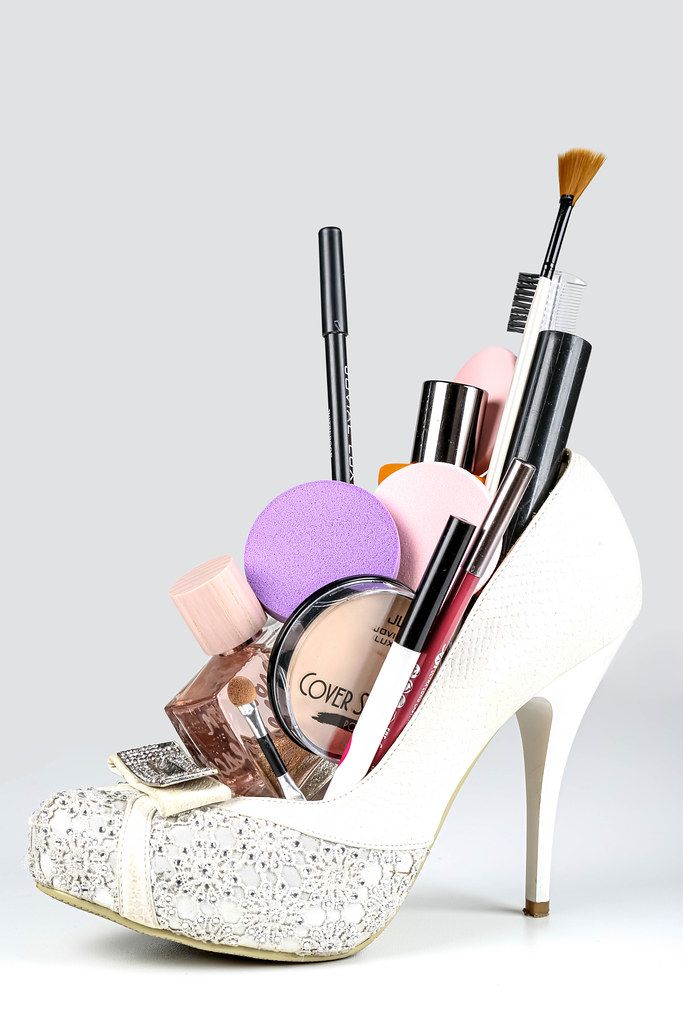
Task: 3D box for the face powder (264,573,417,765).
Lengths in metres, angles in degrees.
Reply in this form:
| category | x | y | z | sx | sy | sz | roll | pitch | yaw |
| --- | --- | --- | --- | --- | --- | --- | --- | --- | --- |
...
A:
| category | x | y | z | sx | sy | sz | roll | pitch | yaw |
| --- | --- | --- | --- | --- | --- | --- | --- | --- | --- |
| face powder | -0.003 | 0.091 | 0.601 | 0.107 | 0.106 | 0.024 | -40 | 29 | -11 |

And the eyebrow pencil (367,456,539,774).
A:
| category | x | y | z | sx | sy | sz | roll | pitch | yaw |
| --- | --- | --- | --- | --- | --- | --- | --- | --- | --- |
| eyebrow pencil | 0.068 | 0.062 | 0.611 | 0.019 | 0.233 | 0.025 | 28 | 5 | 34 |

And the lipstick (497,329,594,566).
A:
| category | x | y | z | sx | sy | sz | roll | pitch | yaw |
| --- | --- | --- | --- | --- | --- | --- | --- | --- | --- |
| lipstick | 0.137 | -0.039 | 0.675 | 0.052 | 0.165 | 0.042 | 24 | -8 | -15 |

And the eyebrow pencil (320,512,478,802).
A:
| category | x | y | z | sx | sy | sz | roll | pitch | yaw |
| --- | --- | --- | --- | --- | --- | --- | --- | --- | --- |
| eyebrow pencil | 0.034 | 0.095 | 0.596 | 0.031 | 0.194 | 0.028 | 23 | -2 | 24 |

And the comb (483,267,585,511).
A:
| category | x | y | z | sx | sy | sz | roll | pitch | yaw |
| --- | --- | --- | --- | --- | --- | --- | --- | --- | --- |
| comb | 0.134 | -0.100 | 0.713 | 0.057 | 0.202 | 0.011 | 17 | -17 | 26 |
